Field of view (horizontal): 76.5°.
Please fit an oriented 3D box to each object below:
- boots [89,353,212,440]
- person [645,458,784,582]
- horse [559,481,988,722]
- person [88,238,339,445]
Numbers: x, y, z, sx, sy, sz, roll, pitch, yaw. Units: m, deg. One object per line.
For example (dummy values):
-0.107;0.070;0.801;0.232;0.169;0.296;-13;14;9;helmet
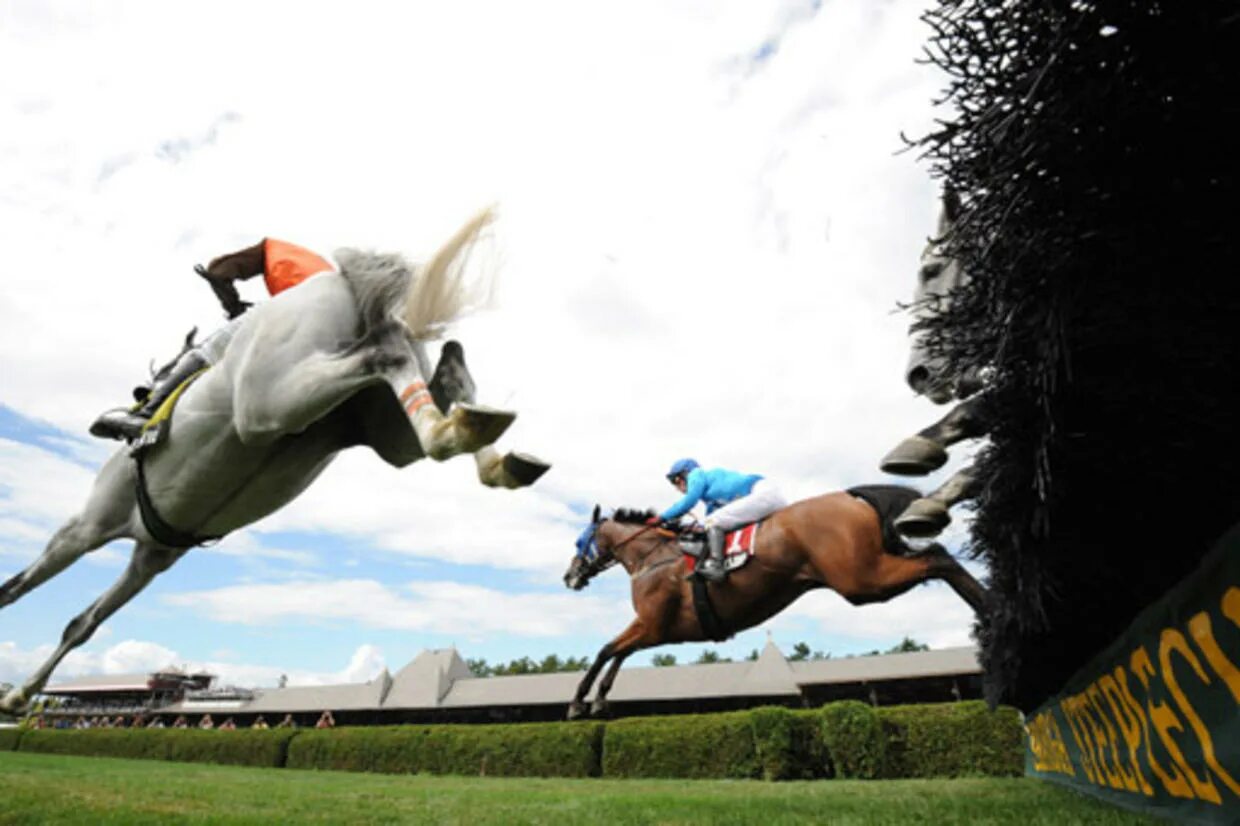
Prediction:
-2.878;-0.033;5.007;0.796;0.327;0.296;-31;9;-8;boots
0.822;0.791;6.146;1.342;0.868;0.557;-3;-15;40;person
0.993;1.144;5.479;3.122;1.163;0.573;-20;-21;28;horse
-2.173;-0.303;4.687;1.589;0.368;0.872;-31;-1;-3;person
